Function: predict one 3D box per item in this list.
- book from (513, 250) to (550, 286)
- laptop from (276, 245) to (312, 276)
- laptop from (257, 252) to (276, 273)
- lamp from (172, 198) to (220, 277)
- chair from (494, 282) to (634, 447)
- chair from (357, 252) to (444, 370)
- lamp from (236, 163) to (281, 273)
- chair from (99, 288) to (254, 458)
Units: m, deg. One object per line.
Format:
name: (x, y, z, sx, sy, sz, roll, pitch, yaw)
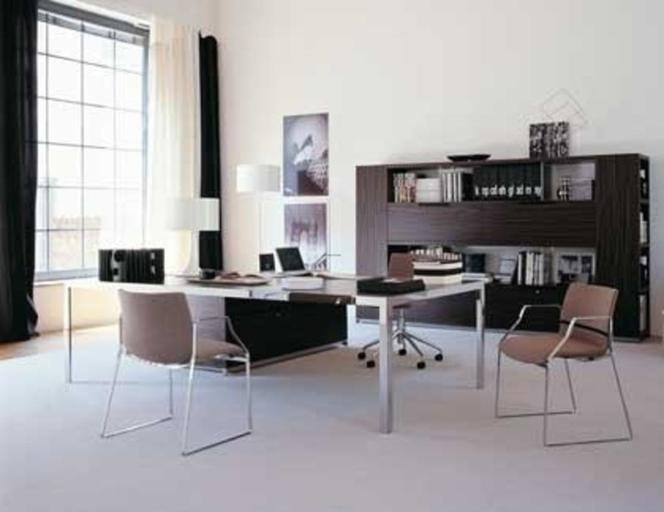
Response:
book: (2.408, 0.157, 6.506, 0.391, 0.547, 0.393, 1, -1, 36)
laptop: (-0.338, 0.045, 4.993, 0.256, 0.212, 0.301, 2, 1, 36)
laptop: (-0.599, 0.063, 5.146, 0.092, 0.160, 0.208, 4, 6, 41)
lamp: (-1.374, -0.173, 5.402, 0.546, 0.833, 0.551, 2, 5, 5)
chair: (1.581, 0.708, 3.718, 0.693, 0.951, 0.820, -3, 1, -9)
chair: (0.733, 0.469, 5.252, 0.792, 1.064, 0.755, 8, -2, 6)
lamp: (-1.019, -0.635, 7.774, 0.668, 1.365, 1.894, -1, 5, -9)
chair: (-1.022, 0.726, 3.611, 0.878, 0.976, 0.970, 2, -2, -34)
